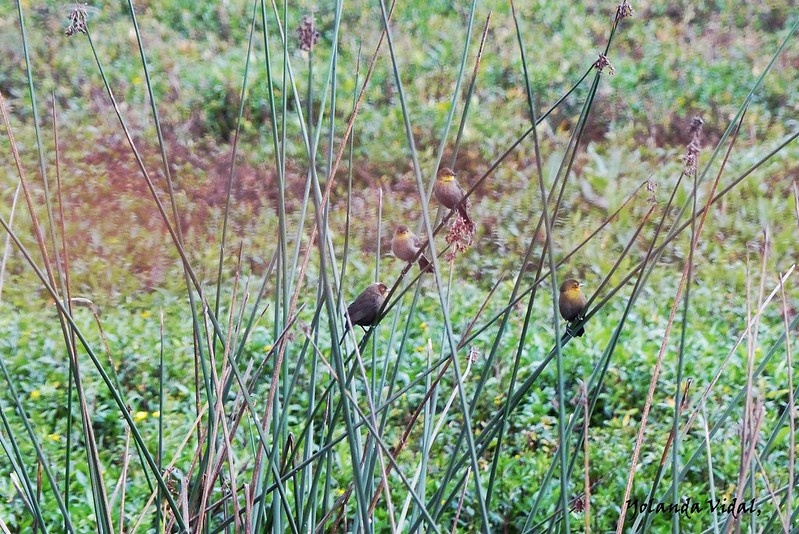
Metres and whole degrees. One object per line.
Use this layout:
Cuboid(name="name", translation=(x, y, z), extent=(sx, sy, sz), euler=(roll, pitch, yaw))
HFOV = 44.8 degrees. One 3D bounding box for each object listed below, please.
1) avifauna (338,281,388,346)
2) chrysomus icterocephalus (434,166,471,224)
Cuboid(name="avifauna", translation=(-0.111, 0.193, 4.276), extent=(0.193, 0.223, 0.105), euler=(-14, -20, 10))
Cuboid(name="chrysomus icterocephalus", translation=(0.245, -0.334, 4.467), extent=(0.107, 0.176, 0.374), euler=(4, -16, 20))
